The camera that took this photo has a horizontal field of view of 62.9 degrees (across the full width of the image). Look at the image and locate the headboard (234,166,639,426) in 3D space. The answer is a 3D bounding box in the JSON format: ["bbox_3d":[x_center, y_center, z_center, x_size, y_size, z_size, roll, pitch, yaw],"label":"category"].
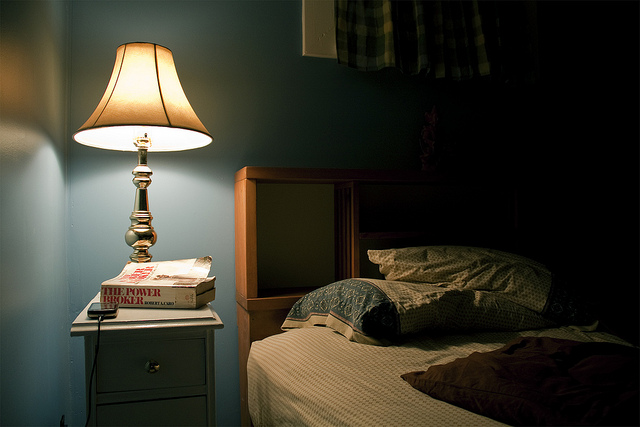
[{"bbox_3d":[0.443,0.341,2.217,1.449,1.245,0.411,0,-2,-11],"label":"headboard"}]

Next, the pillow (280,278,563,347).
[{"bbox_3d":[0.403,0.395,2.078,0.665,0.145,0.399,4,-7,-8],"label":"pillow"}]

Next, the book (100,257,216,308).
[{"bbox_3d":[-0.661,0.284,2.165,0.451,0.114,0.439,5,10,16],"label":"book"}]

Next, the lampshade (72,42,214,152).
[{"bbox_3d":[-0.702,-0.533,2.194,0.498,0.304,0.493,-3,16,-11],"label":"lampshade"}]

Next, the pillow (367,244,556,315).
[{"bbox_3d":[0.618,0.243,2.255,0.431,0.115,0.416,12,-12,-5],"label":"pillow"}]
